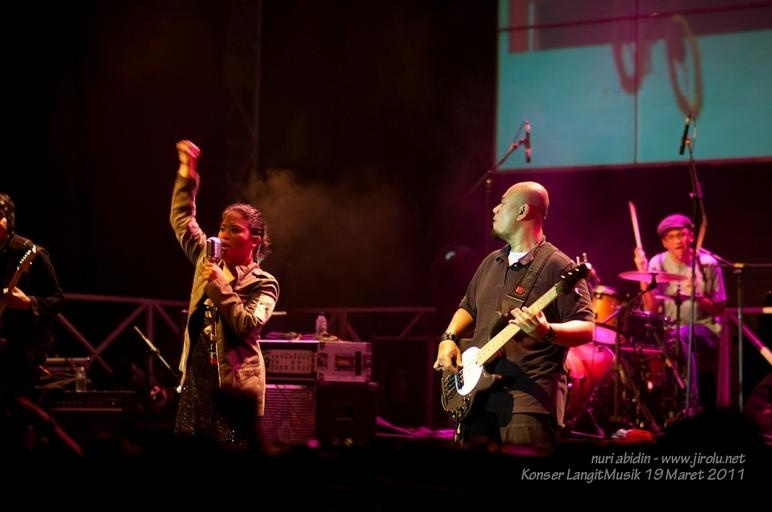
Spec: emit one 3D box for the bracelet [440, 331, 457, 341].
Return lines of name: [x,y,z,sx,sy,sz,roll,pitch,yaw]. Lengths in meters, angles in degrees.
bracelet: [0.459,0.610,5.031,0.079,0.059,0.081,-4,-11,29]

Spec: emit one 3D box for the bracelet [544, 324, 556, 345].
bracelet: [1.081,0.515,4.433,0.104,0.138,0.037,1,8,13]

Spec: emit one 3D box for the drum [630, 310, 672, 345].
drum: [3.097,0.862,7.884,0.410,0.294,0.420,3,-4,0]

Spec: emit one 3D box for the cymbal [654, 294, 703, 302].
cymbal: [3.336,0.479,7.730,0.350,0.070,0.714,5,-3,-10]

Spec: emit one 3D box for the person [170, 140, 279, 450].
person: [-1.259,0.251,5.023,0.900,2.126,0.742,4,-2,-1]

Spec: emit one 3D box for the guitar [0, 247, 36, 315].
guitar: [-3.093,0.206,5.570,0.181,0.655,0.262,4,-2,-3]

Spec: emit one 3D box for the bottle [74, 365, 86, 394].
bottle: [-3.076,1.226,6.669,0.113,0.259,0.227,5,-2,-25]

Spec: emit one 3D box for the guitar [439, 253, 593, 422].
guitar: [0.844,0.614,4.680,0.958,0.852,0.451,4,-2,15]
